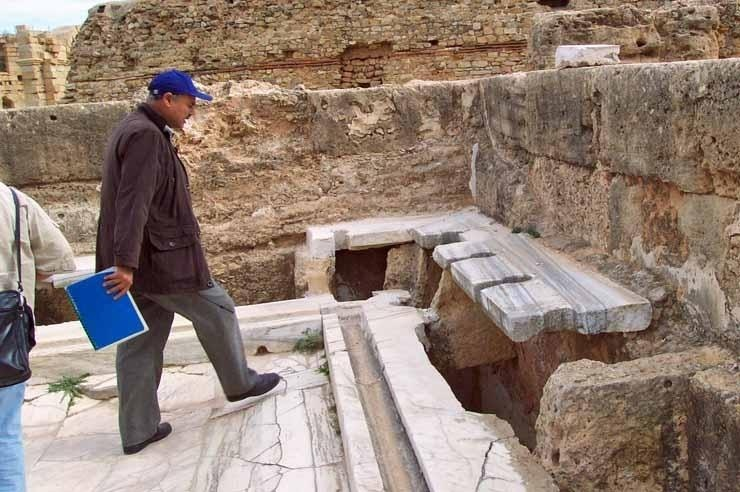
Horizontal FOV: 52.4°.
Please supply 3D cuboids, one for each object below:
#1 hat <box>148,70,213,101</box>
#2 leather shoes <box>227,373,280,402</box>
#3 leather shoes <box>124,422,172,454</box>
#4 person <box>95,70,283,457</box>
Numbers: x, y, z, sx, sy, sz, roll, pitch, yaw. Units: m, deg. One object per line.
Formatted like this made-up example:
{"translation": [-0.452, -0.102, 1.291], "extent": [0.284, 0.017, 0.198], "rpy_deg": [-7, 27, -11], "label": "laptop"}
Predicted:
{"translation": [-1.084, -0.897, 4.254], "extent": [0.345, 0.158, 0.205], "rpy_deg": [-4, 17, -21], "label": "hat"}
{"translation": [-0.732, 0.855, 4.644], "extent": [0.353, 0.136, 0.127], "rpy_deg": [-17, 22, -42], "label": "leather shoes"}
{"translation": [-1.268, 1.110, 4.364], "extent": [0.103, 0.118, 0.297], "rpy_deg": [8, 21, 27], "label": "leather shoes"}
{"translation": [-1.050, 0.073, 4.507], "extent": [1.188, 2.090, 1.091], "rpy_deg": [-5, 6, -25], "label": "person"}
